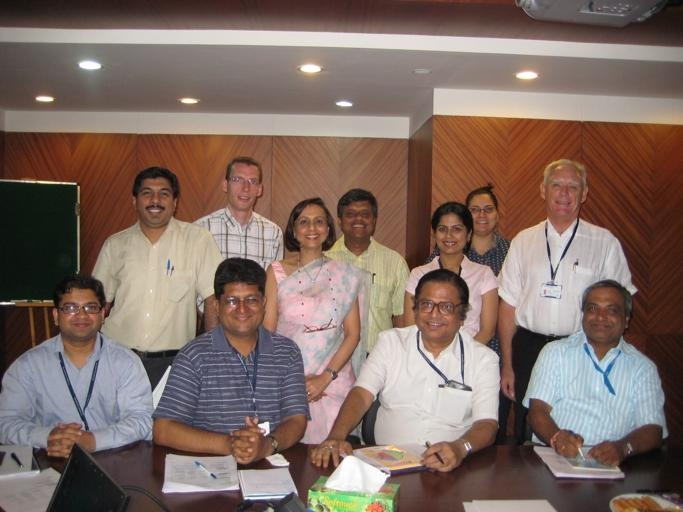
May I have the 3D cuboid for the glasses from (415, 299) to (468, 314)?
[{"bbox_3d":[0.552,0.278,3.231,0.270,0.072,0.092,1,1,5],"label":"glasses"}]

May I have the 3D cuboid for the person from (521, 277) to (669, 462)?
[{"bbox_3d":[1.407,0.612,3.136,0.732,0.943,0.616,1,1,3],"label":"person"}]

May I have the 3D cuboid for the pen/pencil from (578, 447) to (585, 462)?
[{"bbox_3d":[1.183,0.976,2.848,0.017,0.011,0.085,7,23,14],"label":"pen/pencil"}]

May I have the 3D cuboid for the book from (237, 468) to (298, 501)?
[{"bbox_3d":[-0.331,1.009,2.566,0.257,0.050,0.247,1,1,-10],"label":"book"}]

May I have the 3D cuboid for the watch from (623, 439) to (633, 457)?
[{"bbox_3d":[1.434,0.968,2.916,0.027,0.069,0.053,9,-38,15],"label":"watch"}]

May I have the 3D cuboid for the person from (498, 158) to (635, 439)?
[{"bbox_3d":[1.546,0.660,4.090,1.006,2.618,0.715,1,2,22],"label":"person"}]

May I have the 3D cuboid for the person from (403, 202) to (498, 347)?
[{"bbox_3d":[0.763,0.245,4.139,0.722,1.279,0.707,0,2,15],"label":"person"}]

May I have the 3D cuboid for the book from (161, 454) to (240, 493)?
[{"bbox_3d":[-0.642,0.986,2.644,0.333,0.057,0.331,1,1,-12],"label":"book"}]

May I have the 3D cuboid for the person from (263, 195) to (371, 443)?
[{"bbox_3d":[-0.163,0.685,3.899,0.744,2.062,0.679,-3,8,-19],"label":"person"}]

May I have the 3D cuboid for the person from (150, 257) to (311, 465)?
[{"bbox_3d":[-0.555,0.489,3.040,0.689,0.945,0.596,2,2,19],"label":"person"}]

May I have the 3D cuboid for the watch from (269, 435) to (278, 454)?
[{"bbox_3d":[-0.331,0.924,2.838,0.050,0.077,0.069,2,-20,-20],"label":"watch"}]

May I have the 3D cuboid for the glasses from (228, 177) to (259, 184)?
[{"bbox_3d":[-0.765,-0.596,4.522,0.223,0.062,0.053,1,1,-13],"label":"glasses"}]

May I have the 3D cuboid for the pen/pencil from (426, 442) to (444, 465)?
[{"bbox_3d":[0.446,0.944,2.791,0.026,0.027,0.129,19,15,-24],"label":"pen/pencil"}]

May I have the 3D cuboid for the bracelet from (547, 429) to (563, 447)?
[{"bbox_3d":[1.073,0.945,2.964,0.073,0.098,0.034,19,15,-38],"label":"bracelet"}]
